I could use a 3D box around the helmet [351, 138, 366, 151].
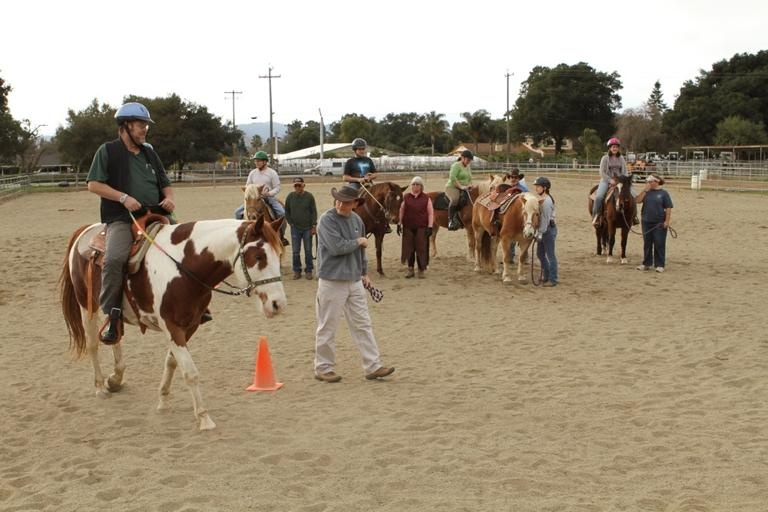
[{"bbox_3d":[-0.532,-2.506,18.719,0.240,0.249,0.299,-1,-2,-17],"label":"helmet"}]

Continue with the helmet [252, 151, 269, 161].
[{"bbox_3d":[-2.790,-2.246,18.675,0.317,0.165,0.252,14,14,27],"label":"helmet"}]

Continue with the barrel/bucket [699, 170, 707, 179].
[{"bbox_3d":[16.743,-4.301,44.085,0.493,0.500,0.273,0,15,-13],"label":"barrel/bucket"}]

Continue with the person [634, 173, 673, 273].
[{"bbox_3d":[6.216,-0.803,19.374,0.722,2.201,1.209,3,13,17],"label":"person"}]

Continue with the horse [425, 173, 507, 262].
[{"bbox_3d":[1.899,-0.929,21.177,3.125,2.367,0.762,0,6,45],"label":"horse"}]

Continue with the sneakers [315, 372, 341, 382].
[{"bbox_3d":[-0.885,1.936,13.438,0.314,0.134,0.168,-3,-4,28],"label":"sneakers"}]

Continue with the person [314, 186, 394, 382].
[{"bbox_3d":[-0.622,0.433,13.394,1.045,3.056,0.655,-2,12,-5],"label":"person"}]

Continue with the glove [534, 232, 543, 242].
[{"bbox_3d":[3.250,-0.428,17.654,0.061,0.179,0.173,0,2,28],"label":"glove"}]

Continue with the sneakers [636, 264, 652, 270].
[{"bbox_3d":[6.014,0.260,19.411,0.324,0.157,0.133,-5,20,-5],"label":"sneakers"}]

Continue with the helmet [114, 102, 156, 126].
[{"bbox_3d":[-3.740,-2.143,12.495,0.494,0.272,0.575,-5,14,-18],"label":"helmet"}]

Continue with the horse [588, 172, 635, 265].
[{"bbox_3d":[5.638,-0.936,20.417,0.893,2.203,1.753,2,13,9],"label":"horse"}]

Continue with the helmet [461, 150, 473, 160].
[{"bbox_3d":[1.980,-2.422,19.966,0.234,0.131,0.180,8,5,13],"label":"helmet"}]

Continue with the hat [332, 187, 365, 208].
[{"bbox_3d":[-0.560,-0.961,13.318,0.404,0.164,0.383,21,3,-5],"label":"hat"}]

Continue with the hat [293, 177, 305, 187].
[{"bbox_3d":[-1.909,-1.693,18.895,0.170,0.130,0.249,5,-24,5],"label":"hat"}]

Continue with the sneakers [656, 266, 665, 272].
[{"bbox_3d":[6.268,0.294,19.074,0.180,0.085,0.246,3,14,15],"label":"sneakers"}]

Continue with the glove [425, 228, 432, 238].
[{"bbox_3d":[1.024,-0.557,19.238,0.153,0.176,0.162,0,1,-1],"label":"glove"}]

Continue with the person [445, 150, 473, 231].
[{"bbox_3d":[1.828,-1.608,20.667,0.622,2.150,1.328,0,12,4],"label":"person"}]

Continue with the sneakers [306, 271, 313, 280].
[{"bbox_3d":[-1.725,0.445,19.308,0.180,0.241,0.576,-2,1,-11],"label":"sneakers"}]

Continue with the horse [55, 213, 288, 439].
[{"bbox_3d":[-3.371,0.921,12.737,4.377,3.122,1.337,4,4,31],"label":"horse"}]

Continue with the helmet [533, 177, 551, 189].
[{"bbox_3d":[3.489,-1.634,18.486,0.363,0.232,0.277,7,6,-12],"label":"helmet"}]

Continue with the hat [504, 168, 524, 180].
[{"bbox_3d":[3.165,-2.032,20.306,0.350,0.167,0.414,1,-15,12],"label":"hat"}]

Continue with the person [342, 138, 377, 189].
[{"bbox_3d":[-0.507,-2.073,19.354,0.817,1.336,0.787,-11,22,-29],"label":"person"}]
